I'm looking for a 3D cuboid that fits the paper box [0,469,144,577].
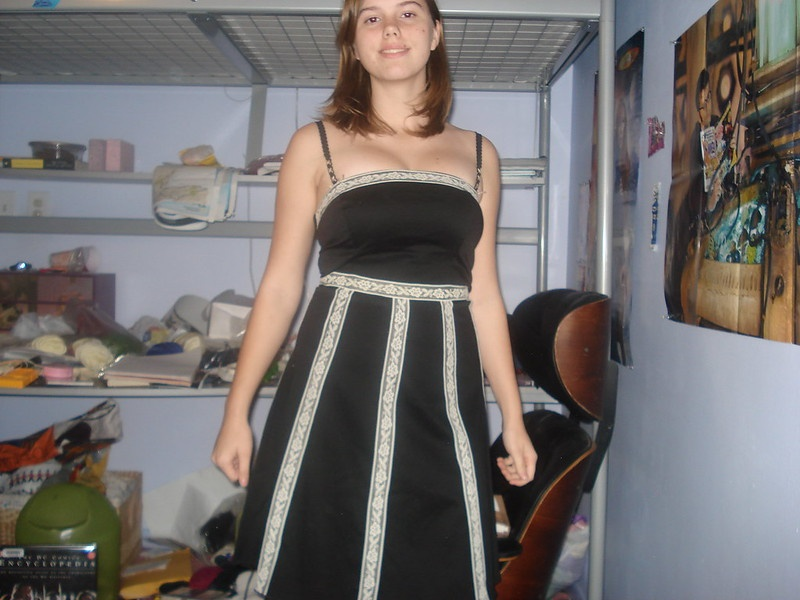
[{"bbox_3d":[-1.382,0.947,2.628,0.382,0.247,0.388,1,0,12],"label":"paper box"}]
